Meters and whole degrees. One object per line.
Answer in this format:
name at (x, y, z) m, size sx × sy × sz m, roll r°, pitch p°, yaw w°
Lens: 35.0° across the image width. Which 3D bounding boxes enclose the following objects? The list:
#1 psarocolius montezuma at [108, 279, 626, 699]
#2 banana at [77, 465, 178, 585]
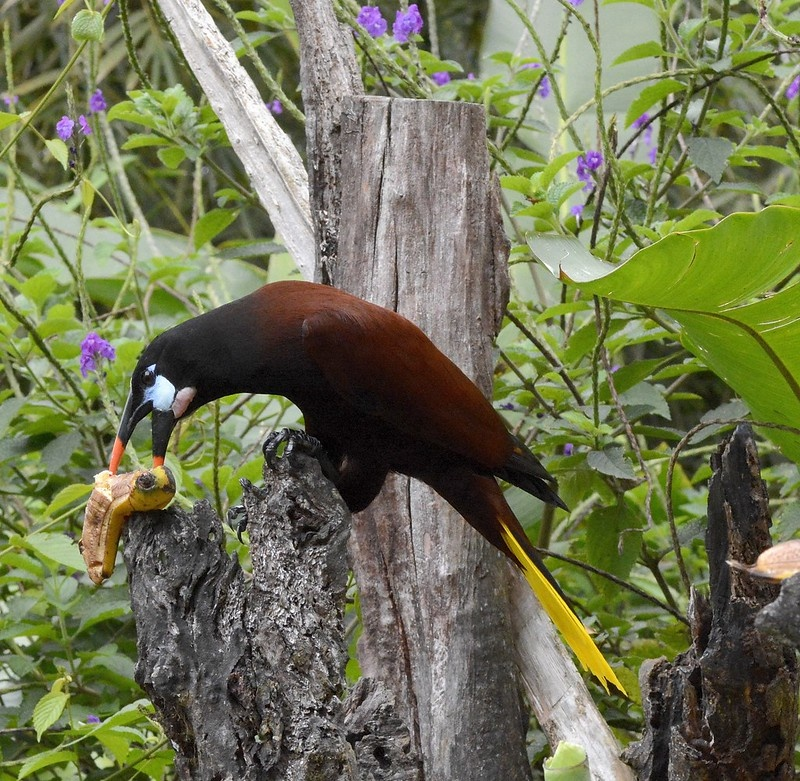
psarocolius montezuma at (-0.065, 0.148, 2.585) m, size 1.166 × 0.572 × 0.321 m, roll 11°, pitch -10°, yaw -22°
banana at (-0.518, 0.259, 2.320) m, size 0.107 × 0.095 × 0.314 m, roll 24°, pitch -52°, yaw -32°
